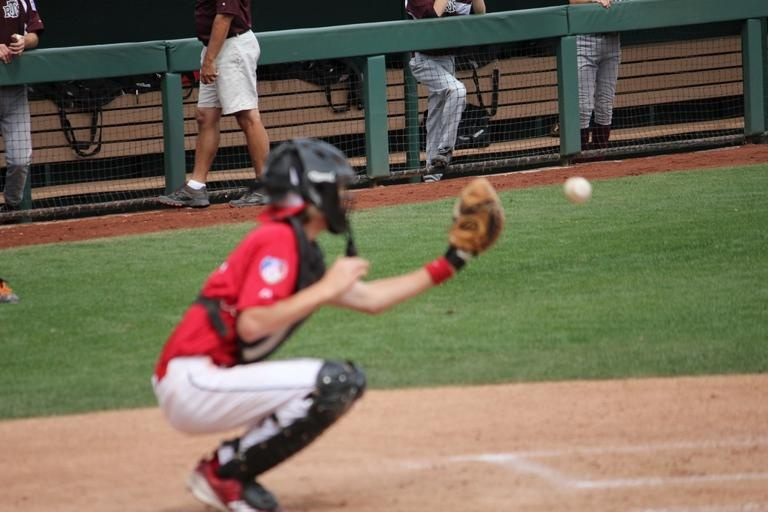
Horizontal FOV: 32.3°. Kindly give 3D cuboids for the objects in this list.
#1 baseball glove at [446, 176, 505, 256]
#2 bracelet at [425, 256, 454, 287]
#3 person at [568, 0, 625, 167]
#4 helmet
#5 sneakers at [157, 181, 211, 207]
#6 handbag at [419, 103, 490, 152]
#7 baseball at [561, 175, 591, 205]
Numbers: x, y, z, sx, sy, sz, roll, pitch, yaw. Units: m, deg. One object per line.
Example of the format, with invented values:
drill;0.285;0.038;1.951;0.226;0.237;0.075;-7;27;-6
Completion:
baseball glove;0.565;-0.225;8.084;0.301;0.502;0.344;11;-2;5
bracelet;0.345;0.100;8.077;0.136;0.146;0.175;-34;-15;-4
person;1.916;-1.457;11.798;0.333;1.059;0.561;1;14;18
helmet;-0.414;-0.401;7.976;0.619;0.580;0.483;-5;-3;24
sneakers;-1.628;-0.488;10.676;0.402;0.199;0.172;4;4;-9
handbag;0.796;-1.248;12.459;0.498;0.336;0.502;-3;-8;8
baseball;1.313;-0.430;8.928;0.168;0.204;0.223;3;15;23
